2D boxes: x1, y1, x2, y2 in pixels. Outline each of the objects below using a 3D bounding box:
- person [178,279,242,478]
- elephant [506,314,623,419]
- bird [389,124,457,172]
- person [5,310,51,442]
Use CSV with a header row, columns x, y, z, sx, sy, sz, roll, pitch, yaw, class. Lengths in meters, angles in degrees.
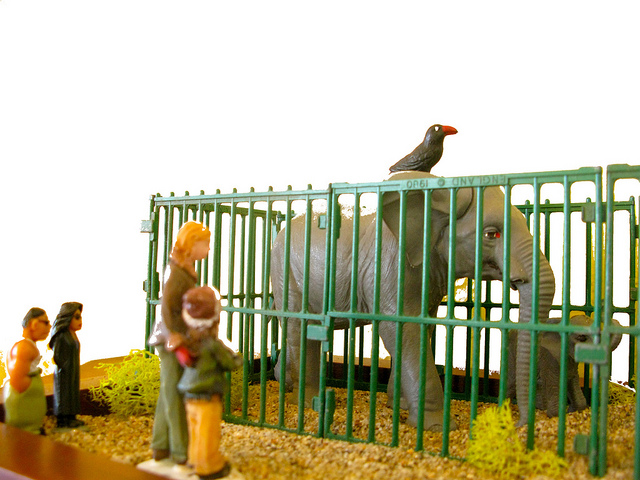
x,y,z,sx,sy,sz,roll,pitch,yaw,class
-0.766,0.968,5.810,0.412,1.300,0.229,1,-1,-14,person
2.236,0.899,7.132,1.113,0.773,0.552,-1,20,31,elephant
0.921,-0.807,7.772,0.620,0.550,0.315,-2,21,11,bird
-2.287,1.042,6.570,0.315,1.000,0.274,1,-1,-22,person
